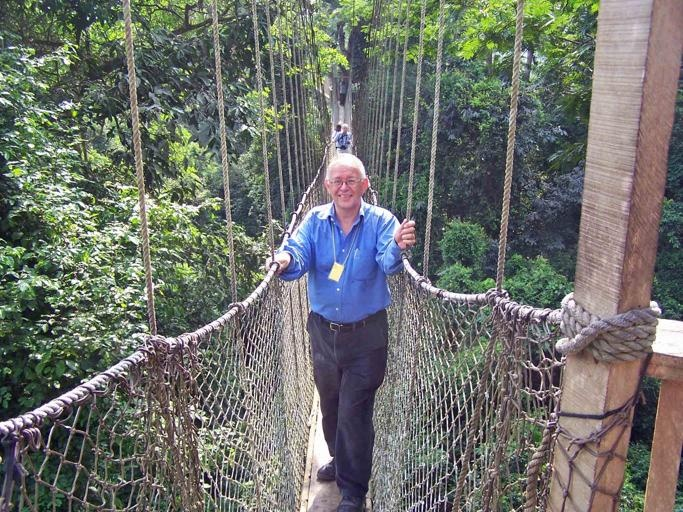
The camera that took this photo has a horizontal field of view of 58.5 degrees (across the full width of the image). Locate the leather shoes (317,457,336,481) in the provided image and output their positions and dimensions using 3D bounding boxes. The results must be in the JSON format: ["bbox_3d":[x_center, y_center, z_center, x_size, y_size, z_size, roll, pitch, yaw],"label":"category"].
[{"bbox_3d":[-0.078,1.133,3.231,0.131,0.099,0.067,-3,-8,17],"label":"leather shoes"}]

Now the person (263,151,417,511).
[{"bbox_3d":[0.045,0.375,2.866,0.634,1.688,0.542,3,8,20],"label":"person"}]

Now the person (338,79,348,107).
[{"bbox_3d":[0.057,-6.792,25.364,0.308,1.031,0.690,0,8,0],"label":"person"}]
